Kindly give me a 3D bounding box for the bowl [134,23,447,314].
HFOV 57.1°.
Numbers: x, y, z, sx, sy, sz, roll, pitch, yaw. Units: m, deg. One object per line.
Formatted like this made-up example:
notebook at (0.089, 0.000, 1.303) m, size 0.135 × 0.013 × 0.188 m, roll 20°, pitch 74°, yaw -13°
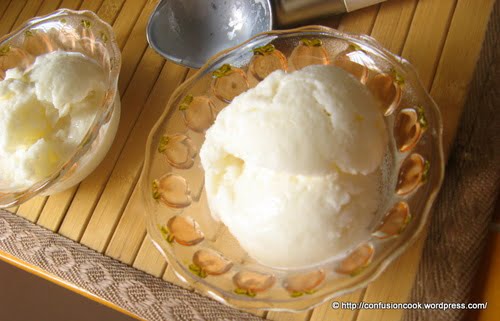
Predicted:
bowl at (0.128, 0.016, 1.480) m, size 1.005 × 0.306 × 0.848 m, roll -26°, pitch 65°, yaw -6°
